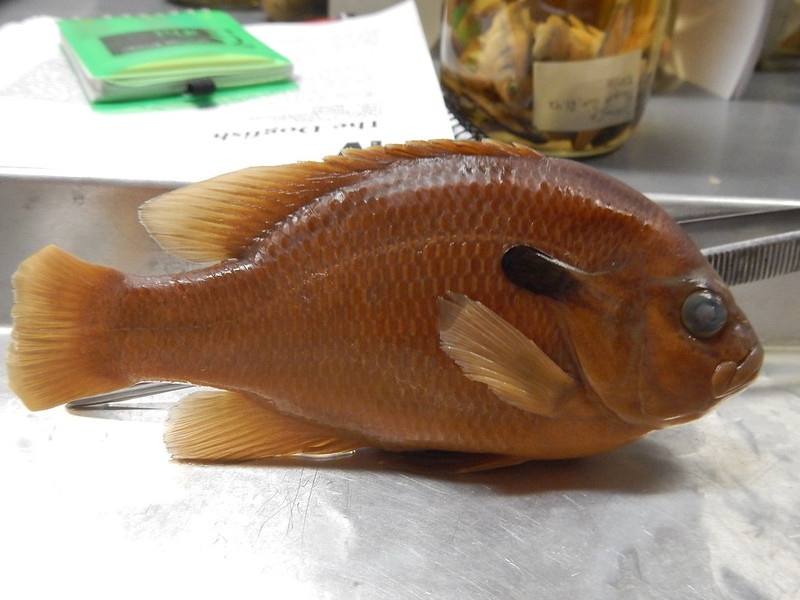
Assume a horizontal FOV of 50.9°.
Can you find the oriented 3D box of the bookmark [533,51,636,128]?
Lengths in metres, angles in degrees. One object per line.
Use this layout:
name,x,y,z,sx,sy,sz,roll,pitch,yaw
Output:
bookmark,0.161,-0.179,0.730,0.091,0.066,0.053,0,60,5
